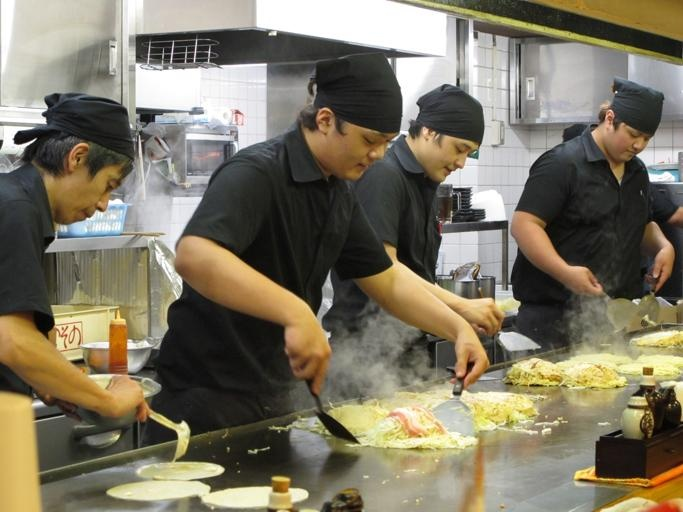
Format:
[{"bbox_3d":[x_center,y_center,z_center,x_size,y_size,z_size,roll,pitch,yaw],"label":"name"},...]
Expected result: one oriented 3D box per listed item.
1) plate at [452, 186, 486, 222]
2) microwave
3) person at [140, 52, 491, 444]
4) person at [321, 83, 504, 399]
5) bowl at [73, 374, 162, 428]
[{"bbox_3d":[0.973,-0.412,4.653,0.322,0.152,0.269,-2,5,-36],"label":"plate"},{"bbox_3d":[-1.215,-0.856,5.025,0.460,0.501,0.728,10,14,26],"label":"microwave"},{"bbox_3d":[-0.161,0.203,1.947,0.858,1.575,0.837,-5,15,-36],"label":"person"},{"bbox_3d":[0.338,-0.153,2.672,0.723,1.455,0.695,0,11,-43],"label":"person"},{"bbox_3d":[-0.722,0.443,1.855,0.269,0.103,0.268,14,-1,0],"label":"bowl"}]
